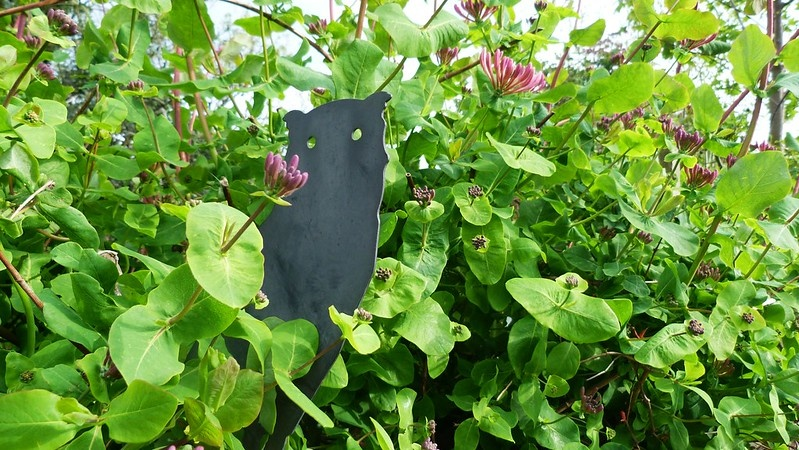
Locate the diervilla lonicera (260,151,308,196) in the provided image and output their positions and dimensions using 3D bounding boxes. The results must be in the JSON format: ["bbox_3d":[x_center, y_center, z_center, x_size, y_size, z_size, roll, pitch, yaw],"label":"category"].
[{"bbox_3d":[-0.288,-0.119,1.774,0.093,0.104,0.101,19,-21,-30],"label":"diervilla lonicera"}]

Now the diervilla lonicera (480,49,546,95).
[{"bbox_3d":[0.323,-0.429,2.093,0.144,0.093,0.152,32,-11,15],"label":"diervilla lonicera"}]
